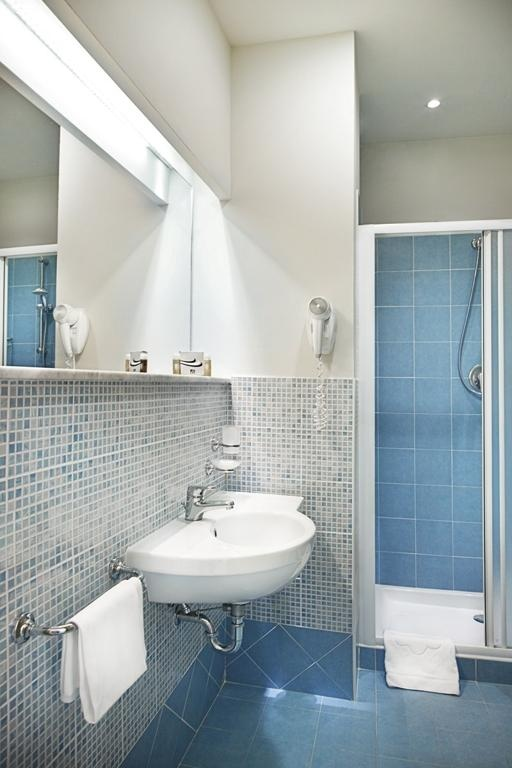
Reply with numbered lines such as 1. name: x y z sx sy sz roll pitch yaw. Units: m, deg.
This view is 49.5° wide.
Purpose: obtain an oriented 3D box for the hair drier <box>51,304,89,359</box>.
1. hair drier: -0.435 -0.128 1.309 0.064 0.180 0.085 -2 -4 13

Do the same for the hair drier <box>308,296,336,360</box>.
1. hair drier: 0.241 -0.200 2.017 0.096 0.227 0.127 0 6 9

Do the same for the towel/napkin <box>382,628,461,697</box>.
1. towel/napkin: 0.624 1.067 2.105 0.264 0.157 0.129 0 6 10

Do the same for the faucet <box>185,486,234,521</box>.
1. faucet: -0.153 0.360 1.713 0.145 0.122 0.081 -1 2 19
